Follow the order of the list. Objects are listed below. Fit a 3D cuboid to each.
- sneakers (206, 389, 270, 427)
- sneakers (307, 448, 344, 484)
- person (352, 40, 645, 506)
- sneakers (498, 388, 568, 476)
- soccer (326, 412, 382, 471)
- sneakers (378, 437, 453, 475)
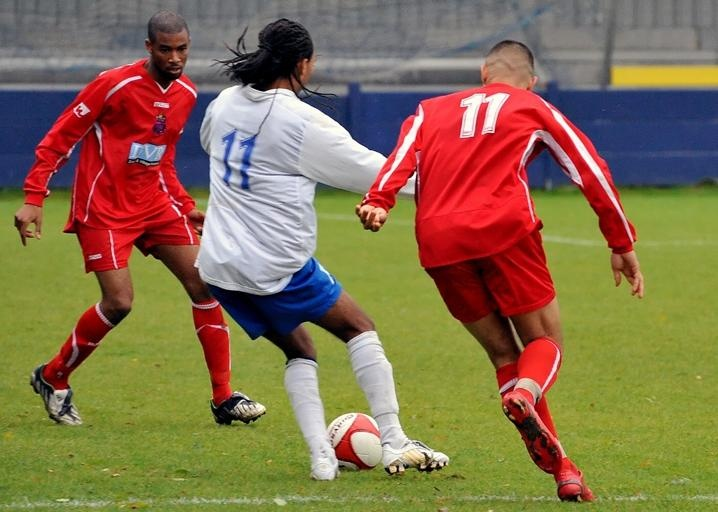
[{"bbox_3d":[-0.892,1.139,8.618,0.495,0.235,0.173,-5,12,18],"label":"sneakers"},{"bbox_3d":[-0.224,1.403,7.757,0.244,0.223,0.549,0,1,-6],"label":"sneakers"},{"bbox_3d":[0.954,0.055,7.718,1.562,2.875,1.054,6,13,25],"label":"person"},{"bbox_3d":[1.119,1.125,7.489,0.247,0.674,0.300,-35,7,26],"label":"sneakers"},{"bbox_3d":[0.002,1.236,8.038,0.341,0.374,0.382,7,17,24],"label":"soccer"},{"bbox_3d":[0.350,1.320,7.627,0.508,0.240,0.184,-2,-4,-3],"label":"sneakers"}]
